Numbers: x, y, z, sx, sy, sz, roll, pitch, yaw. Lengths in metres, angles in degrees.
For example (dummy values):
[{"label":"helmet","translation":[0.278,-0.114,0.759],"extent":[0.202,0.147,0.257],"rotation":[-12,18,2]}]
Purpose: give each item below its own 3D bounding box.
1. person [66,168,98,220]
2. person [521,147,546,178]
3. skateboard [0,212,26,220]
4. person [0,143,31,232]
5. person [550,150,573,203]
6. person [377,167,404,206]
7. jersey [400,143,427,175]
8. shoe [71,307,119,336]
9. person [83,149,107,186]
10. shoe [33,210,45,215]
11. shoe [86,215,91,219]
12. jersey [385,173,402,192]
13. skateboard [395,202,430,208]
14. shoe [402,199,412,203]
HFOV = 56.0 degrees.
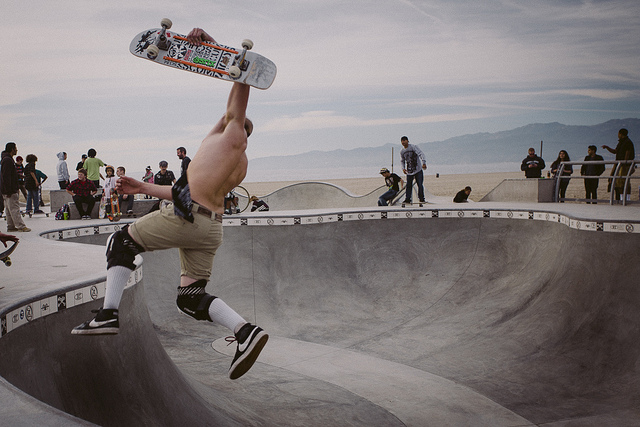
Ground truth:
[{"label":"person","translation":[-6.640,-0.549,16.938],"extent":[0.786,1.455,0.841],"rotation":[1,2,44]},{"label":"person","translation":[6.621,-1.568,18.694],"extent":[0.693,0.888,0.872],"rotation":[1,6,18]},{"label":"skateboard","translation":[-8.908,0.023,17.382],"extent":[0.631,0.251,0.443],"rotation":[10,-6,-35]},{"label":"person","translation":[-7.293,-0.496,14.215],"extent":[0.753,1.833,0.432],"rotation":[4,8,44]},{"label":"person","translation":[7.038,-1.051,17.611],"extent":[0.587,1.585,0.566],"rotation":[5,25,25]},{"label":"person","translation":[2.163,-0.611,18.737],"extent":[0.778,1.642,0.597],"rotation":[2,-11,4]},{"label":"jersey","translation":[2.590,-1.505,16.837],"extent":[0.645,0.821,0.325],"rotation":[0,5,6]},{"label":"shoe","translation":[-3.420,1.626,9.065],"extent":[0.853,0.407,0.303],"rotation":[-7,-12,19]},{"label":"person","translation":[-7.143,-1.258,18.900],"extent":[0.739,1.662,0.480],"rotation":[-2,27,-22]},{"label":"shoe","translation":[-8.717,-0.035,18.605],"extent":[0.239,0.108,0.101],"rotation":[-6,11,-22]},{"label":"shoe","translation":[-6.510,0.104,16.819],"extent":[0.082,0.083,0.022],"rotation":[5,-25,-20]},{"label":"jersey","translation":[2.268,-0.971,18.695],"extent":[0.393,0.512,0.548],"rotation":[-1,5,-4]},{"label":"skateboard","translation":[2.604,-0.245,16.849],"extent":[1.093,0.171,0.266],"rotation":[-2,-5,-8]},{"label":"shoe","translation":[2.455,-0.343,16.991],"extent":[0.200,0.051,0.196],"rotation":[-3,3,-28]}]
